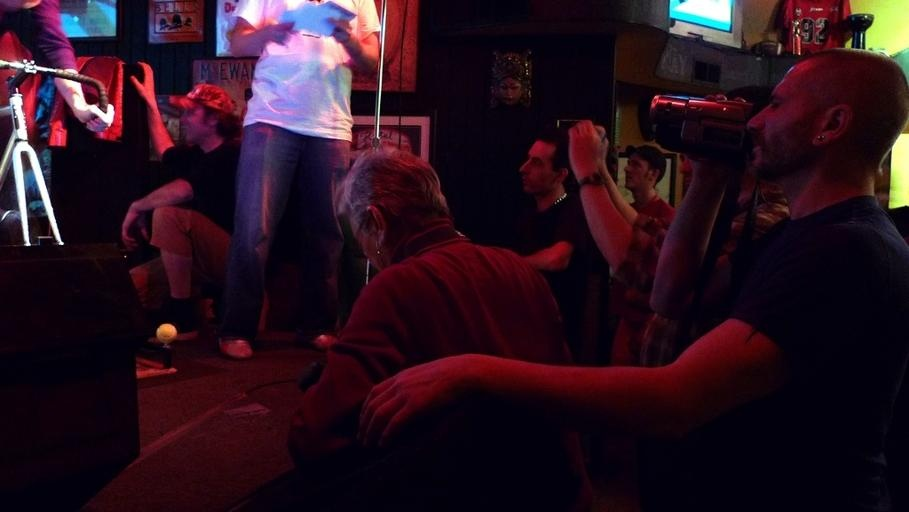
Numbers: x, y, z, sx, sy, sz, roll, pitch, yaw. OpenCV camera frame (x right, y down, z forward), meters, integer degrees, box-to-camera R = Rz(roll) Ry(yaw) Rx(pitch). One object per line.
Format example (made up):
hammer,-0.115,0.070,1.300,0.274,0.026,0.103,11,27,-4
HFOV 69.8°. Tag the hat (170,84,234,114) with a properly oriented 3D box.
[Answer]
hat,-1.533,-0.939,3.905,0.367,0.124,0.227,8,9,-6

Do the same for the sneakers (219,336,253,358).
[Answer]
sneakers,-1.032,0.443,3.134,0.156,0.078,0.176,-4,20,-28
